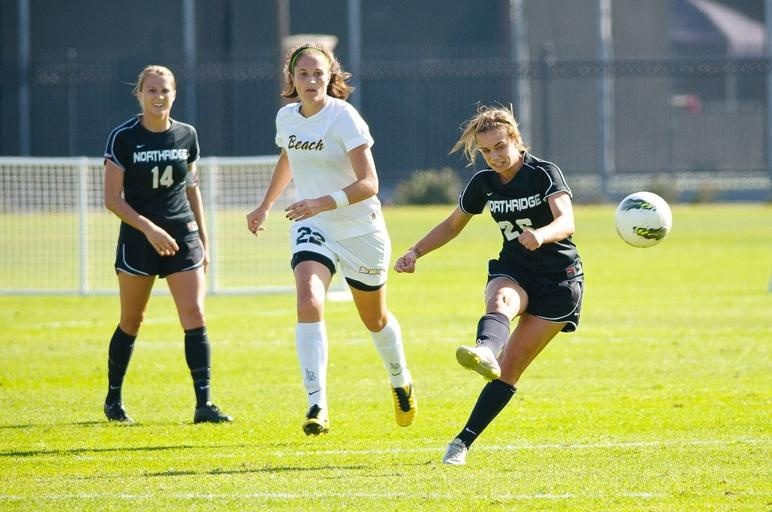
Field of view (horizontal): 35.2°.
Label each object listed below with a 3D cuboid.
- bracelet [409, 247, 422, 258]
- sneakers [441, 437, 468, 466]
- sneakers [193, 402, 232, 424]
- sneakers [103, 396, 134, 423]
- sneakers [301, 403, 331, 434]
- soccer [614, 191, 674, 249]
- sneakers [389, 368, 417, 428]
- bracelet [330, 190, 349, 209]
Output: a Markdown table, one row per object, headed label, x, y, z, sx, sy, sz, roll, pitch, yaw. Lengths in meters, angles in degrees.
| label | x | y | z | sx | sy | sz | roll | pitch | yaw |
| --- | --- | --- | --- | --- | --- | --- | --- | --- | --- |
| bracelet | 0.316 | -0.043 | 14.109 | 0.128 | 0.094 | 0.131 | 31 | 3 | -13 |
| sneakers | 0.772 | 2.203 | 13.691 | 0.331 | 0.274 | 0.222 | -5 | 15 | -13 |
| sneakers | -2.131 | 1.937 | 14.855 | 0.545 | 0.244 | 0.195 | 2 | 4 | -2 |
| sneakers | -3.215 | 1.928 | 14.858 | 0.476 | 0.203 | 0.169 | 3 | 2 | 34 |
| sneakers | -0.806 | 1.854 | 13.638 | 0.266 | 0.334 | 0.212 | -1 | 14 | -1 |
| soccer | 3.017 | -0.430 | 14.682 | 0.610 | 0.660 | 0.590 | 14 | -6 | -13 |
| sneakers | 0.199 | 1.734 | 14.459 | 0.204 | 0.576 | 0.252 | -6 | 13 | 9 |
| bracelet | -0.537 | -0.630 | 13.951 | 0.151 | 0.197 | 0.190 | -24 | -14 | -9 |
